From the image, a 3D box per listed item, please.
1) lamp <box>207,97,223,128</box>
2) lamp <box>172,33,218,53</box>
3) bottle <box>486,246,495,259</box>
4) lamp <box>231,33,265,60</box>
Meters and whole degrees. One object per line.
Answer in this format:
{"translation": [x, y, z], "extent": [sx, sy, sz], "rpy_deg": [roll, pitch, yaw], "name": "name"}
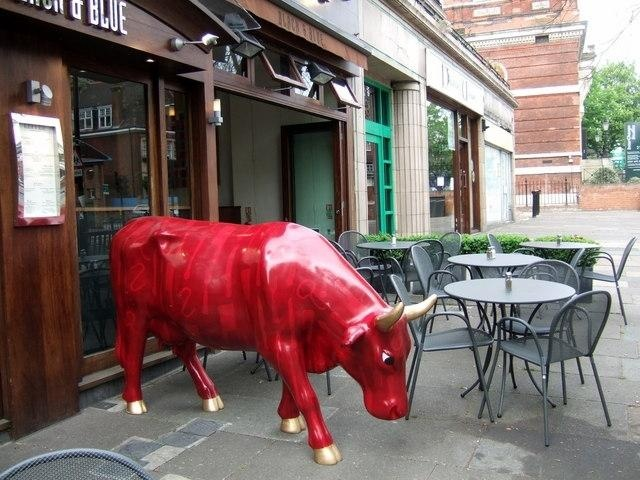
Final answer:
{"translation": [-1.218, -1.493, 6.063], "extent": [0.133, 0.316, 0.336], "rpy_deg": [-1, 7, -1], "name": "lamp"}
{"translation": [-1.242, -1.944, 5.139], "extent": [0.350, 0.163, 0.228], "rpy_deg": [0, 8, 8], "name": "lamp"}
{"translation": [2.201, 0.164, 6.701], "extent": [0.089, 0.151, 0.338], "rpy_deg": [4, 13, 24], "name": "bottle"}
{"translation": [-0.888, -2.458, 6.483], "extent": [0.381, 0.284, 0.512], "rpy_deg": [-4, 8, -23], "name": "lamp"}
